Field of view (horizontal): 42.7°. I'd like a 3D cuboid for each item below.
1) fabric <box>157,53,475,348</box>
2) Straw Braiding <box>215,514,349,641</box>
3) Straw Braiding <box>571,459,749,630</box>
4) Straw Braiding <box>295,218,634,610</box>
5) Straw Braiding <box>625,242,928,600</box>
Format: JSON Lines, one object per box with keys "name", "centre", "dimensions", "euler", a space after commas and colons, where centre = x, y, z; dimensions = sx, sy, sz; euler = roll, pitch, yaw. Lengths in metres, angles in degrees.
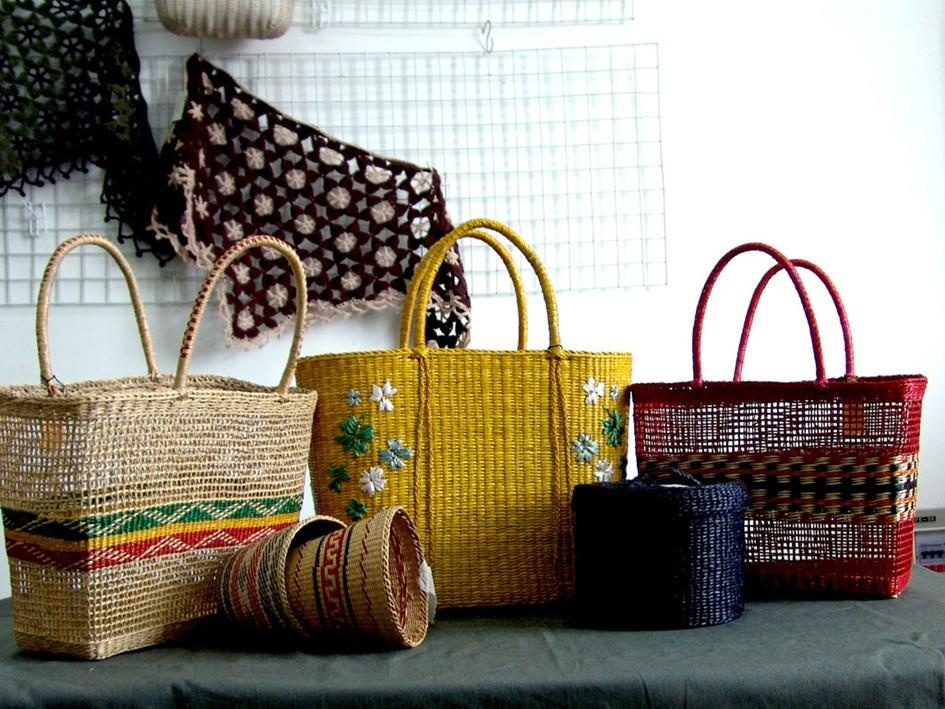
{"name": "fabric", "centre": [-0.363, -0.361, 3.108], "dimensions": [0.945, 0.691, 0.103], "euler": [4, -9, 20]}
{"name": "Straw Braiding", "centre": [-0.371, 0.437, 2.453], "dimensions": [0.277, 0.225, 0.244], "euler": [-4, -5, 15]}
{"name": "Straw Braiding", "centre": [0.365, 0.367, 2.344], "dimensions": [0.312, 0.249, 0.305], "euler": [-3, -5, 25]}
{"name": "Straw Braiding", "centre": [0.023, 0.104, 2.604], "dimensions": [0.708, 0.703, 0.276], "euler": [0, 2, -10]}
{"name": "Straw Braiding", "centre": [0.655, 0.154, 2.732], "dimensions": [0.898, 0.979, 0.364], "euler": [-1, -10, 10]}
